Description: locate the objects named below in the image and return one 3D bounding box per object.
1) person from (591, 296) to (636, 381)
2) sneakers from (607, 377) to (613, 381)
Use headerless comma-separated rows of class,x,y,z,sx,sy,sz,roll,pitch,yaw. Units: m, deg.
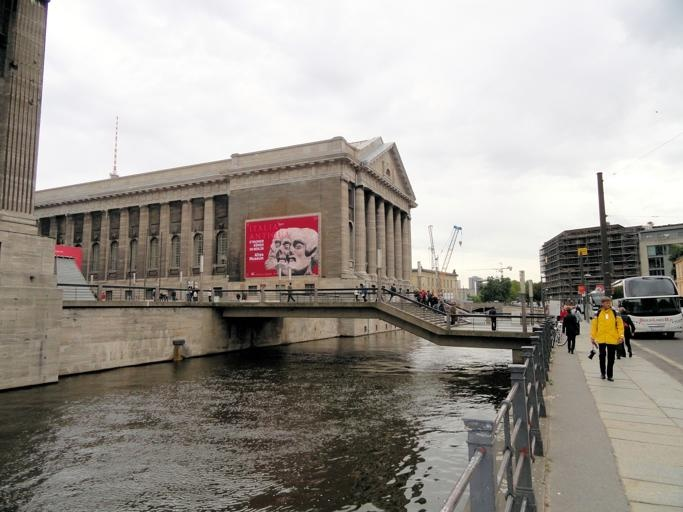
person,8.162,2.509,15.087,0.855,2.486,0.992,-2,-5,27
sneakers,8.135,3.692,14.828,0.117,0.080,0.126,-1,-4,7
